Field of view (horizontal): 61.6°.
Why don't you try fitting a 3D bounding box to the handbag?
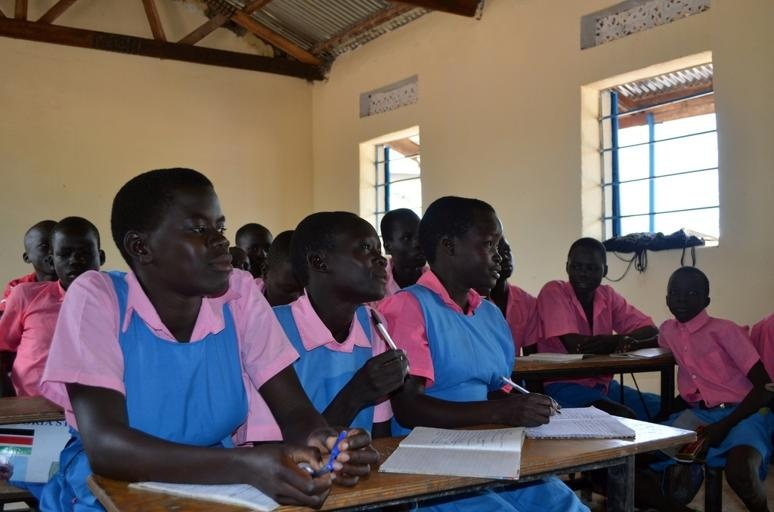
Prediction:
[{"bbox_3d":[2.123,-0.044,5.350,0.875,0.399,0.269,0,1,42],"label":"handbag"}]
